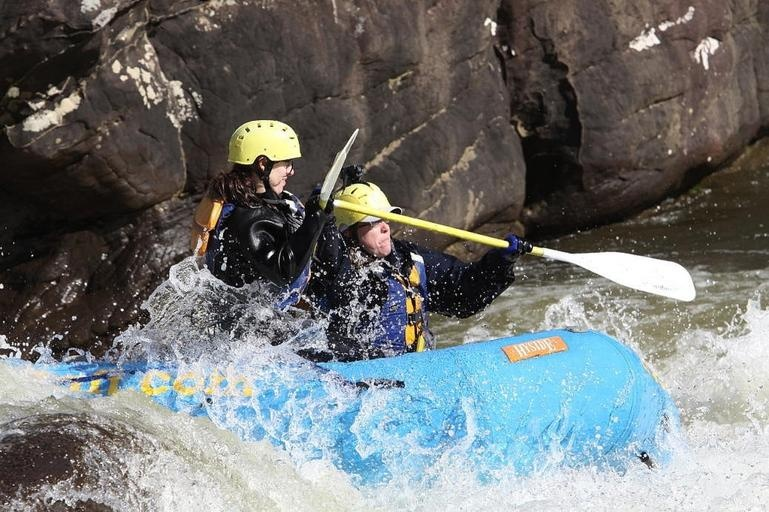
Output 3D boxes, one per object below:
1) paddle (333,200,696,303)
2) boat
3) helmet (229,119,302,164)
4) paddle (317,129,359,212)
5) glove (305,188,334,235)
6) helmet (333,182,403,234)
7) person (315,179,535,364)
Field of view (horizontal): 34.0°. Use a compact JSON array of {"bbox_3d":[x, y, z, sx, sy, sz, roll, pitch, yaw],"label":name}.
[{"bbox_3d":[1.162,-0.026,11.736,3.861,0.149,0.490,14,91,0],"label":"paddle"},{"bbox_3d":[0.023,1.113,9.823,3.653,1.050,1.826,2,-1,-15],"label":"boat"},{"bbox_3d":[-0.980,-0.952,10.365,0.591,0.319,0.477,2,17,20],"label":"helmet"},{"bbox_3d":[-0.424,-0.737,10.825,0.077,0.924,0.424,23,41,-4],"label":"paddle"},{"bbox_3d":[-0.543,-0.342,9.787,0.224,0.092,0.310,37,104,41],"label":"glove"},{"bbox_3d":[-0.155,-0.396,10.295,0.486,0.288,0.331,-5,13,26],"label":"helmet"},{"bbox_3d":[0.287,0.163,10.829,0.676,1.417,2.003,-21,79,36],"label":"person"}]
